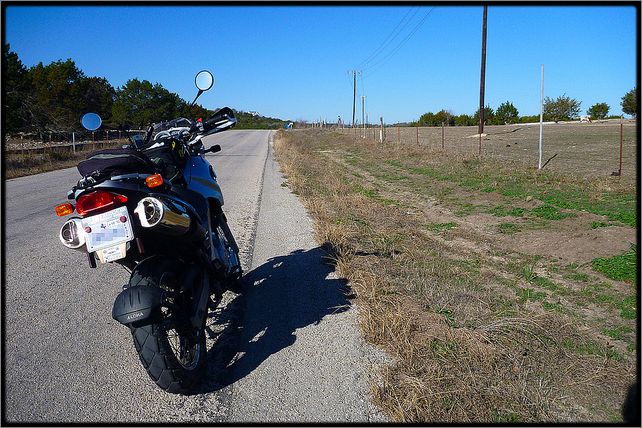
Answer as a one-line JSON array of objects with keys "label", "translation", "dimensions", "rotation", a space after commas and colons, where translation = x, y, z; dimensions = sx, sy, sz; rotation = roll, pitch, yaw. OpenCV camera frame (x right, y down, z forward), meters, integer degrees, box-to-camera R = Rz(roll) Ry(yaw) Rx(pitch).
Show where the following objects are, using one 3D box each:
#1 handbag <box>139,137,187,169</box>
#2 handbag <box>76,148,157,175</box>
[{"label": "handbag", "translation": [-2.019, -0.796, 5.062], "dimensions": [0.407, 0.213, 0.330], "rotation": [-12, 27, -27]}, {"label": "handbag", "translation": [-2.242, -0.552, 4.247], "dimensions": [0.382, 0.212, 0.526], "rotation": [0, 11, 3]}]
